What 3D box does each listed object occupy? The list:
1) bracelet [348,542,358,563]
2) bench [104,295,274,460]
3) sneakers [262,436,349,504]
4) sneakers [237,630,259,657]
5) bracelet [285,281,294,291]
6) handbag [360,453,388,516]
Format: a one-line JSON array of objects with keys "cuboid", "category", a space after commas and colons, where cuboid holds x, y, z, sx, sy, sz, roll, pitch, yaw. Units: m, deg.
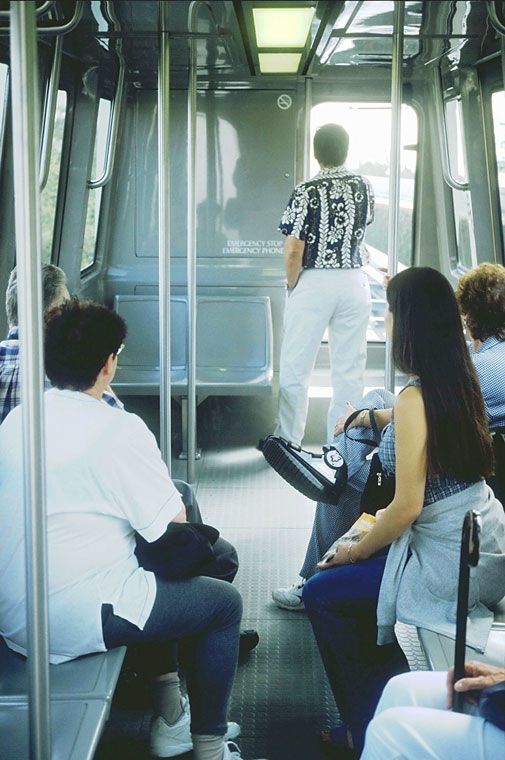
[{"cuboid": [0.292, 0.508, 1.883, 0.017, 0.040, 0.046, 2, 36, -7], "category": "bracelet"}, {"cuboid": [-0.532, 0.042, 4.947, 1.405, 1.282, 0.916, 3, 14, 21], "category": "bench"}, {"cuboid": [0.189, 0.319, 2.364, 0.271, 0.124, 0.199, 33, 28, 12], "category": "sneakers"}, {"cuboid": [-0.014, 0.975, 2.398, 0.049, 0.060, 0.145, 2, 6, 6], "category": "sneakers"}, {"cuboid": [0.238, -0.590, 4.016, 0.046, 0.038, 0.042, 7, -10, 15], "category": "bracelet"}, {"cuboid": [0.403, 0.345, 2.095, 0.100, 0.190, 0.043, 8, 16, 28], "category": "handbag"}]
